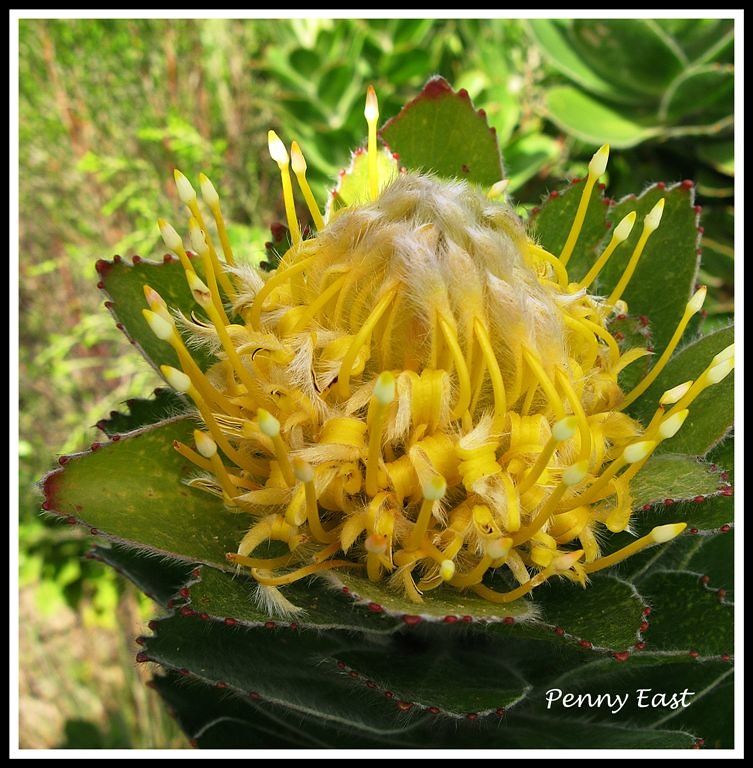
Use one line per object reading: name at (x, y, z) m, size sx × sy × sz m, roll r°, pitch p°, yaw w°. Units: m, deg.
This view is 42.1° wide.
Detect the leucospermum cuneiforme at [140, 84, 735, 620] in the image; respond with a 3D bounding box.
leucospermum cuneiforme at (0.026, 0.013, 1.670) m, size 0.988 × 0.453 × 0.712 m, roll 2°, pitch 57°, yaw -6°
